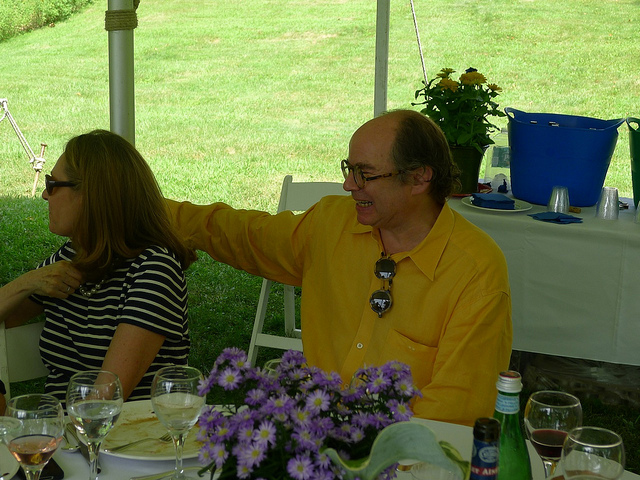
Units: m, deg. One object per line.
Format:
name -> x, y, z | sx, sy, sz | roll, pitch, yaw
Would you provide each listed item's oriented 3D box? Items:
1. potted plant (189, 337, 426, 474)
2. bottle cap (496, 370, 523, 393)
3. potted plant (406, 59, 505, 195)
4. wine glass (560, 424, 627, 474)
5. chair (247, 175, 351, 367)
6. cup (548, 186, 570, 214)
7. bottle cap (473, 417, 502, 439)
potted plant -> -0.034, 0.301, 1.273 | 0.442, 0.285, 0.435 | 4, 0, -2
bottle cap -> 0.377, 0.287, 1.231 | 0.042, 0.025, 0.042 | -12, 22, -21
potted plant -> 0.803, -0.606, 3.638 | 0.470, 0.663, 0.483 | 2, 34, -2
wine glass -> 0.559, 0.430, 1.280 | 0.103, 0.114, 0.105 | -1, -1, -2
chair -> -0.122, 0.206, 3.439 | 0.532, 1.132, 1.257 | 0, 5, -7
cup -> 1.244, -0.206, 3.238 | 0.126, 0.141, 0.128 | -1, 7, 0
bottle cap -> 0.302, 0.338, 1.123 | 0.037, 0.037, 0.038 | 0, 2, -4
